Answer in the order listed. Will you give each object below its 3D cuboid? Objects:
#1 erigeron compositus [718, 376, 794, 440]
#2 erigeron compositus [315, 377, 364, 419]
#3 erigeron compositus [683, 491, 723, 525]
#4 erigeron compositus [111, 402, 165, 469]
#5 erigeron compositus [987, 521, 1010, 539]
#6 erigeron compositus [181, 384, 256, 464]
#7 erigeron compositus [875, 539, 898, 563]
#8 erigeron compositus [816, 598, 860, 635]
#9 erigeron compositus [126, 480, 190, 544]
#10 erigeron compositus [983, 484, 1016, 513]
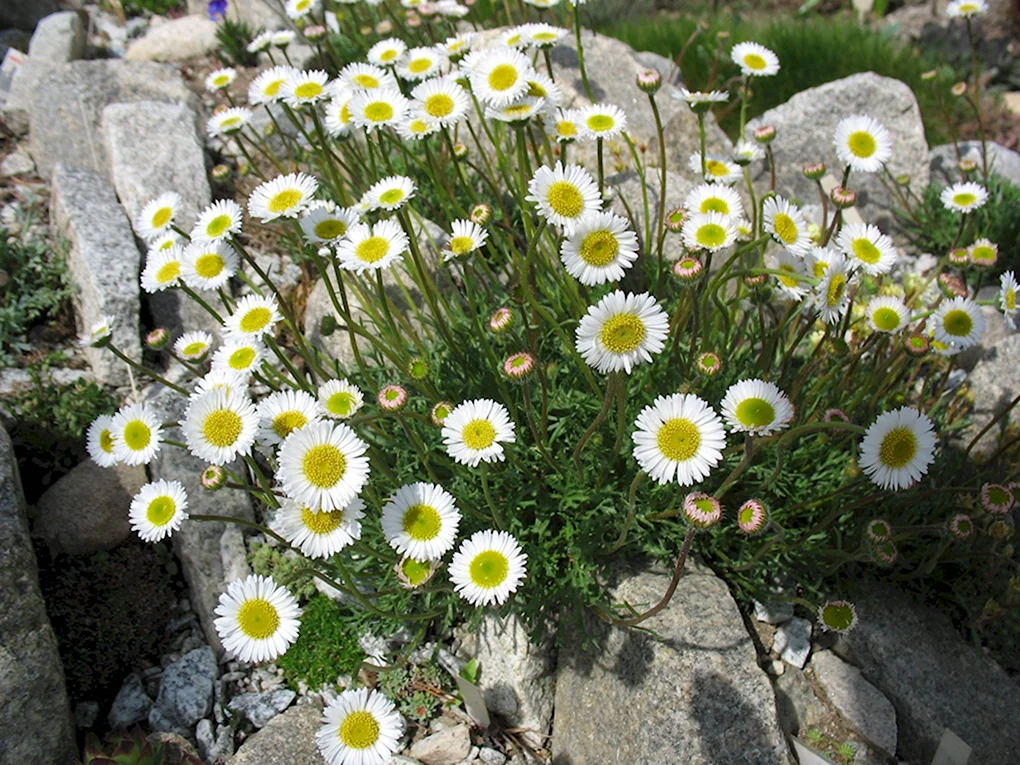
[{"bbox_3d":[1.297,0.075,4.636,0.292,0.127,0.319,-25,62,-14],"label":"erigeron compositus"},{"bbox_3d":[-0.942,0.090,4.973,0.194,0.086,0.232,-4,66,-5],"label":"erigeron compositus"},{"bbox_3d":[0.990,0.666,4.586,0.182,0.112,0.168,3,78,7],"label":"erigeron compositus"},{"bbox_3d":[-2.163,0.297,5.188,0.297,0.070,0.350,-12,78,4],"label":"erigeron compositus"},{"bbox_3d":[2.914,0.888,5.314,0.095,0.113,0.102,-18,29,28],"label":"erigeron compositus"},{"bbox_3d":[-1.583,0.229,4.899,0.361,0.153,0.422,-19,79,6],"label":"erigeron compositus"},{"bbox_3d":[2.107,0.960,4.976,0.137,0.147,0.127,-7,76,4],"label":"erigeron compositus"},{"bbox_3d":[2.013,1.444,5.439,0.292,0.280,0.211,1,77,6],"label":"erigeron compositus"},{"bbox_3d":[-1.957,0.688,5.018,0.335,0.154,0.364,-26,69,0],"label":"erigeron compositus"},{"bbox_3d":[2.838,0.677,5.176,0.195,0.086,0.167,-2,78,6],"label":"erigeron compositus"}]
